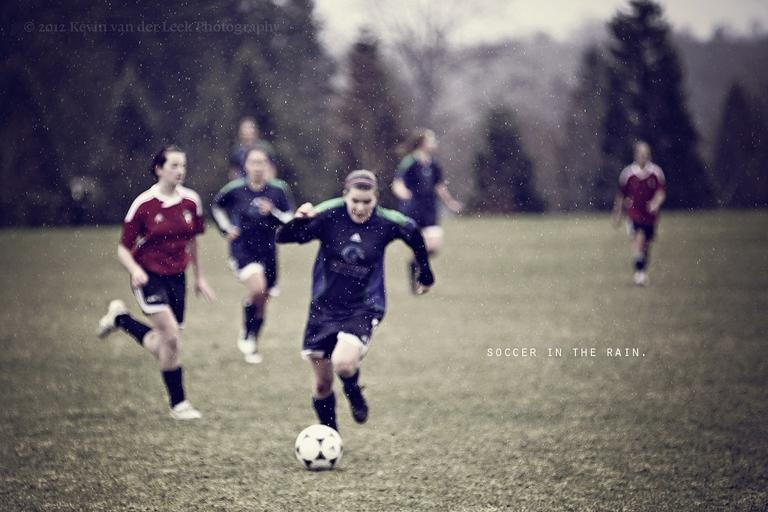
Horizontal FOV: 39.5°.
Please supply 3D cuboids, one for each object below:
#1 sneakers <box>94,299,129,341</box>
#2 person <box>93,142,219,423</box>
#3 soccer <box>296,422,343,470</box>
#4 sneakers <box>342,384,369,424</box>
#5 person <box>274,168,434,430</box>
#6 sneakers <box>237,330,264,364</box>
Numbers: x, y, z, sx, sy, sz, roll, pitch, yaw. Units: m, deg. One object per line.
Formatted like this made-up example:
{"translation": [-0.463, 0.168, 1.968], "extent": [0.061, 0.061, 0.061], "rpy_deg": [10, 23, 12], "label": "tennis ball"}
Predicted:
{"translation": [-2.564, 0.585, 10.064], "extent": [0.201, 0.447, 0.190], "rpy_deg": [32, 17, 7], "label": "sneakers"}
{"translation": [-2.056, 0.236, 9.675], "extent": [0.804, 2.450, 0.655], "rpy_deg": [-1, 11, -8], "label": "person"}
{"translation": [-0.543, 1.654, 8.898], "extent": [0.328, 0.376, 0.345], "rpy_deg": [-1, -30, -6], "label": "soccer"}
{"translation": [-0.242, 1.304, 9.350], "extent": [0.132, 0.437, 0.174], "rpy_deg": [-19, 4, -14], "label": "sneakers"}
{"translation": [-0.274, 0.402, 9.320], "extent": [1.028, 2.324, 0.661], "rpy_deg": [-8, 14, -35], "label": "person"}
{"translation": [-1.399, 1.001, 11.123], "extent": [0.178, 0.365, 0.146], "rpy_deg": [-24, -19, 0], "label": "sneakers"}
